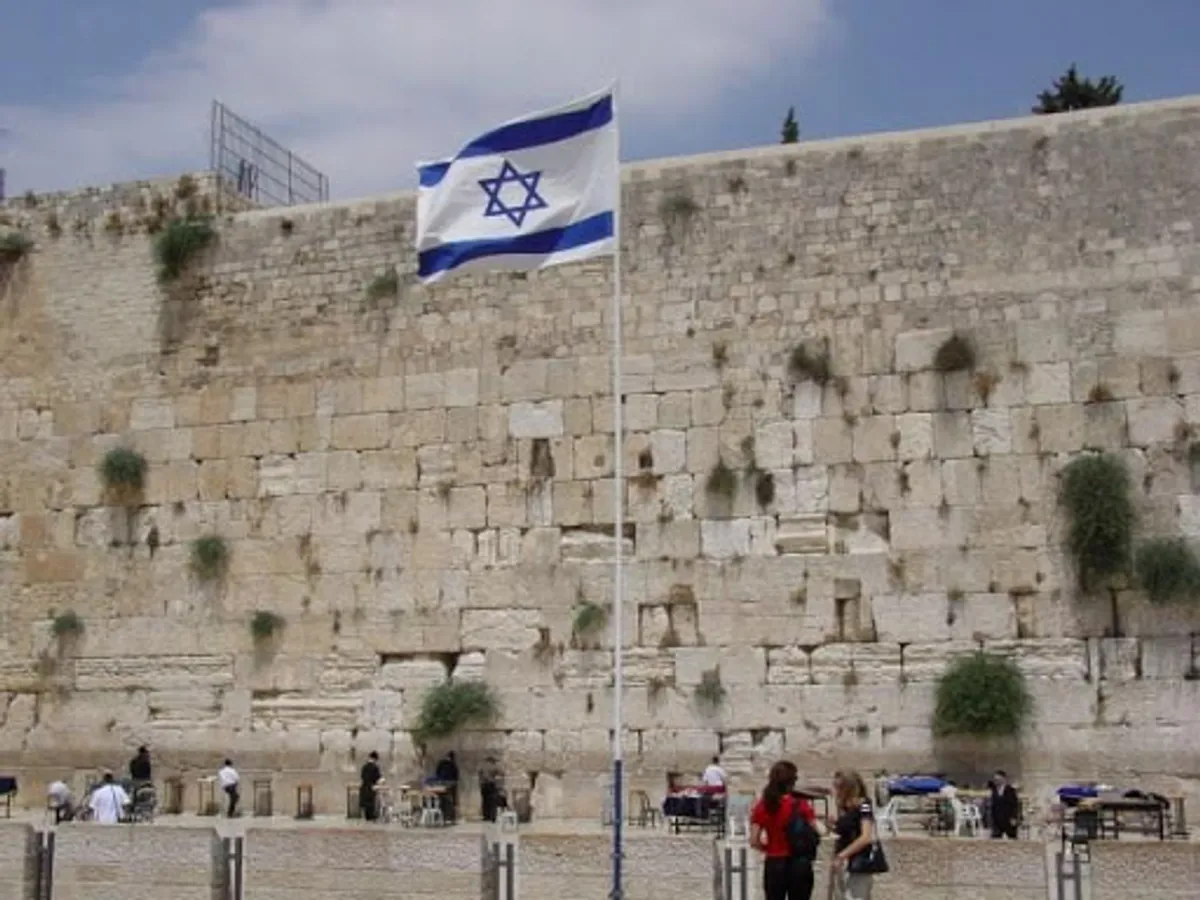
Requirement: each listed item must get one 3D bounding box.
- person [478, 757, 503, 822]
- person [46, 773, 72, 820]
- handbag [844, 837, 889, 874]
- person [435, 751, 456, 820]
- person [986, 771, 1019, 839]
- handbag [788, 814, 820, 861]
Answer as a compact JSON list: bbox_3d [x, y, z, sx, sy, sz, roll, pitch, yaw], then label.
[{"bbox_3d":[-1.528,4.739,34.901,0.354,0.887,0.435,-1,-11,-2],"label":"person"},{"bbox_3d":[-7.670,4.877,34.847,0.367,0.739,2.490,2,-12,-13],"label":"person"},{"bbox_3d":[3.014,4.552,27.991,0.485,0.636,0.190,1,-12,-8],"label":"handbag"},{"bbox_3d":[-2.189,4.673,34.844,0.348,1.024,0.757,0,-12,-3],"label":"person"},{"bbox_3d":[5.270,4.547,32.041,0.393,0.898,1.454,-3,-12,9],"label":"person"},{"bbox_3d":[2.367,4.378,28.147,0.389,0.526,0.223,9,-15,-40],"label":"handbag"}]
